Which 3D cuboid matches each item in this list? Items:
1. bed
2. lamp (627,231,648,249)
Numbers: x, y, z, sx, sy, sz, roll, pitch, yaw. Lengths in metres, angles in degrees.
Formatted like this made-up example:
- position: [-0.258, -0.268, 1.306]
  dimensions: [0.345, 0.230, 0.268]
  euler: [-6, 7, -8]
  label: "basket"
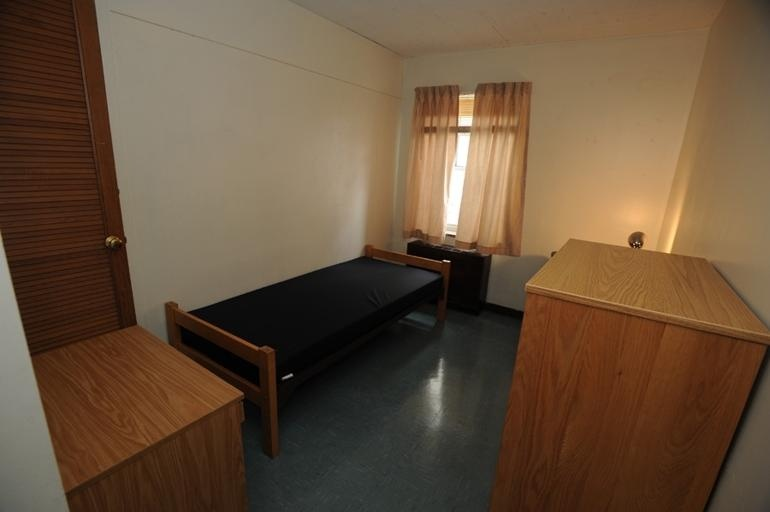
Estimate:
- position: [-0.427, 0.454, 4.115]
  dimensions: [1.108, 0.629, 1.963]
  euler: [19, 31, 33]
  label: "bed"
- position: [2.066, -0.120, 4.084]
  dimensions: [0.087, 0.139, 0.136]
  euler: [13, -24, -2]
  label: "lamp"
